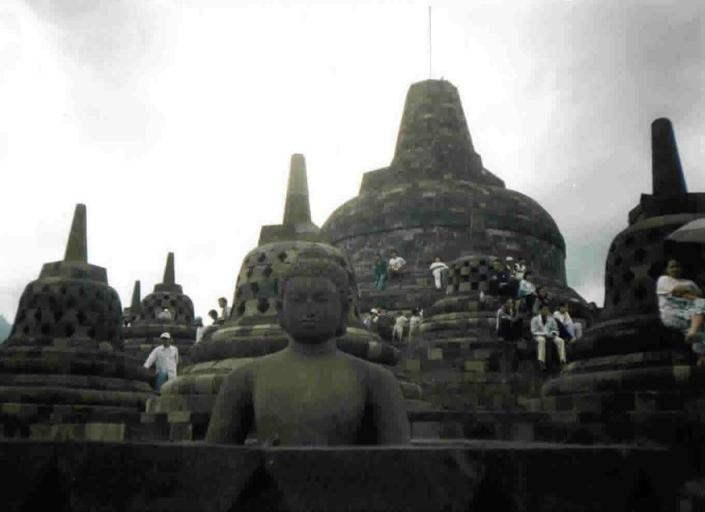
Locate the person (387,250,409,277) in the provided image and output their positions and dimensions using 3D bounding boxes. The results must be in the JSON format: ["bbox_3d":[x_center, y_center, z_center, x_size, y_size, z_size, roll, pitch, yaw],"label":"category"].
[{"bbox_3d":[1.325,0.294,30.226,0.518,0.783,0.691,-4,-16,8],"label":"person"}]

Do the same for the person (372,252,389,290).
[{"bbox_3d":[0.815,0.488,29.112,0.342,1.037,0.330,8,29,10],"label":"person"}]
